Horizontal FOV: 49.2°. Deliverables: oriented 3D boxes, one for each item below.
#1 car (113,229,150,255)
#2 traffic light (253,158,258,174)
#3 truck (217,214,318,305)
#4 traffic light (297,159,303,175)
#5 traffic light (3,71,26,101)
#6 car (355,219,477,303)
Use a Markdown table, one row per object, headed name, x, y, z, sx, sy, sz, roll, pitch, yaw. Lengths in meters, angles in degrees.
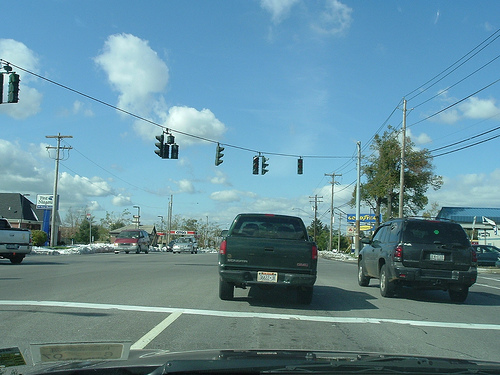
| name | x | y | z | sx | sy | sz | roll | pitch | yaw |
| --- | --- | --- | --- | --- | --- | --- | --- | --- | --- |
| car | -8.507 | 3.898 | 39.891 | 1.532 | 1.163 | 2.439 | -1 | -13 | 3 |
| traffic light | 0.310 | -1.264 | 31.189 | 0.260 | 0.870 | 0.453 | 1 | -6 | -2 |
| truck | 0.385 | 1.528 | 13.149 | 1.638 | 1.336 | 2.964 | 1 | -4 | -1 |
| traffic light | 2.977 | -1.243 | 32.709 | 0.220 | 0.918 | 0.476 | 0 | -6 | 13 |
| traffic light | -7.839 | -3.414 | 18.062 | 0.392 | 1.285 | 1.770 | 4 | -8 | -29 |
| car | 4.269 | 1.923 | 14.612 | 1.932 | 2.152 | 3.068 | 3 | -7 | -20 |
